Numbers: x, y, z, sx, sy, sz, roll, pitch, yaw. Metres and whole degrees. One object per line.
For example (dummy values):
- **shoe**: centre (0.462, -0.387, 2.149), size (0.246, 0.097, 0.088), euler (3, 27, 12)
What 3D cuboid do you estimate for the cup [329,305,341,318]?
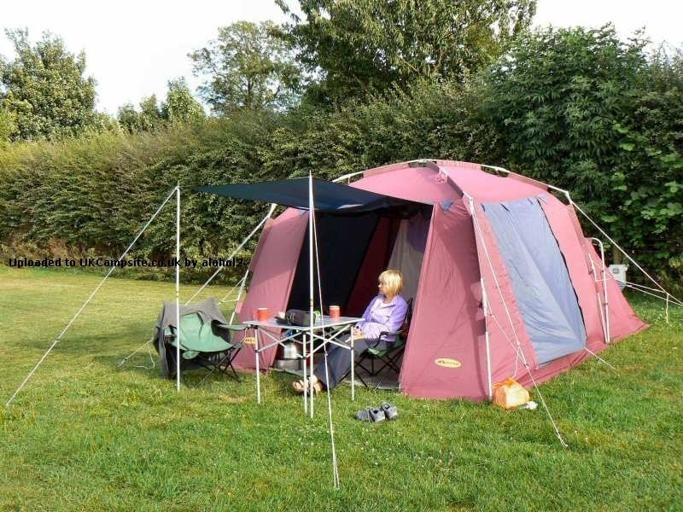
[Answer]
- **cup**: centre (-0.055, 0.675, 7.399), size (0.129, 0.153, 0.131), euler (0, -3, 0)

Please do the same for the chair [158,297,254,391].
- **chair**: centre (-1.780, 1.103, 8.016), size (1.088, 1.081, 0.977), euler (-3, 6, -41)

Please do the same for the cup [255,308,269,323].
- **cup**: centre (-0.917, 0.691, 7.261), size (0.114, 0.119, 0.142), euler (3, -5, -44)

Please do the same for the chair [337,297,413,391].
- **chair**: centre (0.506, 1.383, 8.372), size (0.964, 1.426, 0.960), euler (4, -5, -16)

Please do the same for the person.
- **person**: centre (0.120, 0.948, 7.825), size (1.384, 1.516, 0.536), euler (-6, 18, -29)

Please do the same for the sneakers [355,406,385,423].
- **sneakers**: centre (0.322, 1.727, 6.731), size (0.212, 0.076, 0.157), euler (-1, 3, 20)

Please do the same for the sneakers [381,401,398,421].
- **sneakers**: centre (0.528, 1.708, 6.804), size (0.124, 0.184, 0.067), euler (-17, -35, -8)

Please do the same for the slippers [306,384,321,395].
- **slippers**: centre (-0.299, 1.547, 7.255), size (0.175, 0.143, 0.185), euler (0, 1, 12)

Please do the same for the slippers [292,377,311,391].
- **slippers**: centre (-0.454, 1.505, 7.145), size (0.165, 0.111, 0.232), euler (-14, -9, 2)

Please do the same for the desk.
- **desk**: centre (-0.437, 1.221, 7.412), size (1.200, 0.858, 1.298), euler (-4, -8, 21)
